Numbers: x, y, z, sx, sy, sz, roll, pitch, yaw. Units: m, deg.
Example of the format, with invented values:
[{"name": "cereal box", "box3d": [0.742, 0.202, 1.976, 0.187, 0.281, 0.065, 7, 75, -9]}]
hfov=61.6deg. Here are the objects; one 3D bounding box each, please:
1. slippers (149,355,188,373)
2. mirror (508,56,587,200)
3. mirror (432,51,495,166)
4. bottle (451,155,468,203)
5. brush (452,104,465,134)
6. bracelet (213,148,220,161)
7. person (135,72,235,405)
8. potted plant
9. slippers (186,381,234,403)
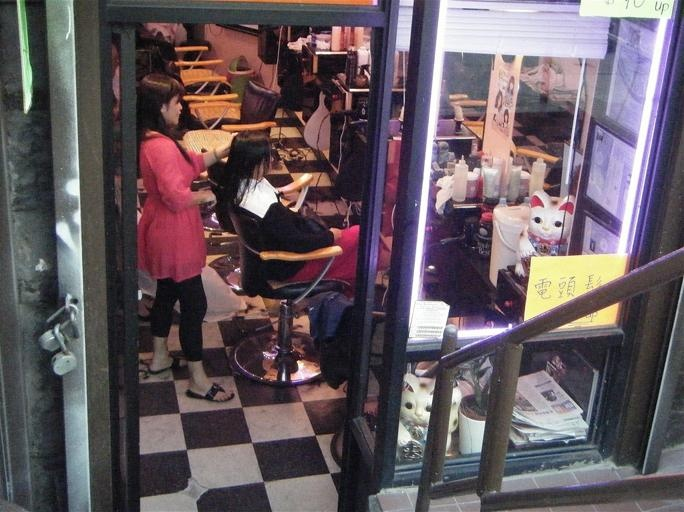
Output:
[{"name": "slippers", "box3d": [-1.055, 0.672, 3.514, 0.223, 0.061, 0.087, -17, 38, -32]}, {"name": "mirror", "box3d": [0.800, -0.488, 2.229, 0.276, 0.531, 0.238, 12, 21, 20]}, {"name": "mirror", "box3d": [0.410, -0.516, 1.979, 0.266, 0.480, 0.046, -22, 38, -37]}, {"name": "bottle", "box3d": [0.442, -0.299, 2.185, 0.064, 0.210, 0.064, -1, 39, 1]}, {"name": "brush", "box3d": [0.399, -0.476, 1.987, 0.042, 0.102, 0.042, -17, 40, 7]}, {"name": "bracelet", "box3d": [-0.789, -0.637, 3.614, 0.039, 0.053, 0.042, -3, 4, -35]}, {"name": "person", "box3d": [-0.860, -0.064, 3.165, 0.512, 1.752, 0.286, 8, 20, 9]}, {"name": "potted plant", "box3d": [0.481, 0.545, 2.125, 0.109, 0.468, 0.159, 9, 20, 13]}, {"name": "slippers", "box3d": [-0.762, 0.783, 3.303, 0.214, 0.071, 0.117, 3, 22, -5]}]
